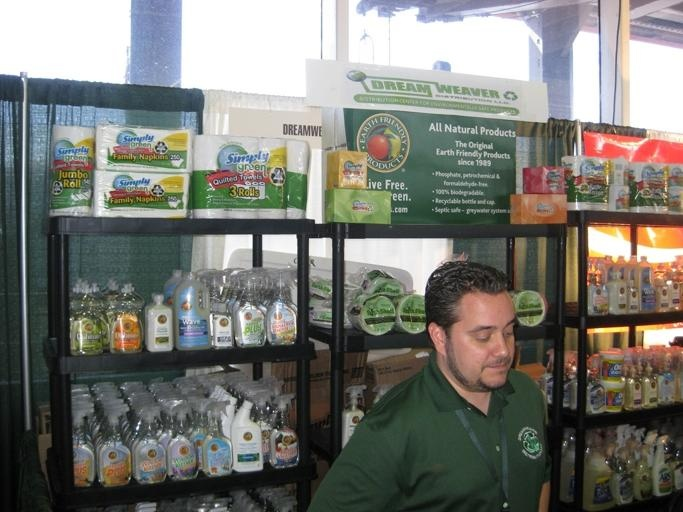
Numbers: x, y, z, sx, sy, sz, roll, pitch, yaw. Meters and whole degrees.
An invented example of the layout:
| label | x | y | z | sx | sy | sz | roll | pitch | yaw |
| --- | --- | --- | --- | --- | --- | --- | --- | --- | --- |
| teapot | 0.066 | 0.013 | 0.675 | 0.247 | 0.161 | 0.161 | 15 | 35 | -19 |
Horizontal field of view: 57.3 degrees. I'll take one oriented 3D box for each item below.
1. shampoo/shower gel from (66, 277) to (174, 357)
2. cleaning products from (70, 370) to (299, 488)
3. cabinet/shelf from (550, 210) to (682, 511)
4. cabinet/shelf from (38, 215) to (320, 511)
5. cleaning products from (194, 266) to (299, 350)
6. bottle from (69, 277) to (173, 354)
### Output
| label | x | y | z | sx | sy | sz | roll | pitch | yaw |
| --- | --- | --- | --- | --- | --- | --- | --- | --- | --- |
| shampoo/shower gel | -1.067 | 0.236 | 2.887 | 0.375 | 0.237 | 0.370 | 0 | 1 | -27 |
| cleaning products | -0.759 | 0.821 | 2.950 | 0.725 | 0.249 | 0.528 | 0 | 1 | -26 |
| cabinet/shelf | 1.707 | 0.616 | 3.918 | 1.510 | 1.609 | 0.582 | -2 | 1 | -35 |
| cabinet/shelf | -0.796 | 0.490 | 2.971 | 1.382 | 1.362 | 0.630 | -2 | 0 | -3 |
| cleaning products | -0.455 | 0.262 | 2.980 | 0.362 | 0.340 | 0.121 | 1 | -15 | -23 |
| bottle | -1.066 | 0.280 | 2.899 | 0.374 | 0.236 | 0.369 | 1 | 1 | 0 |
